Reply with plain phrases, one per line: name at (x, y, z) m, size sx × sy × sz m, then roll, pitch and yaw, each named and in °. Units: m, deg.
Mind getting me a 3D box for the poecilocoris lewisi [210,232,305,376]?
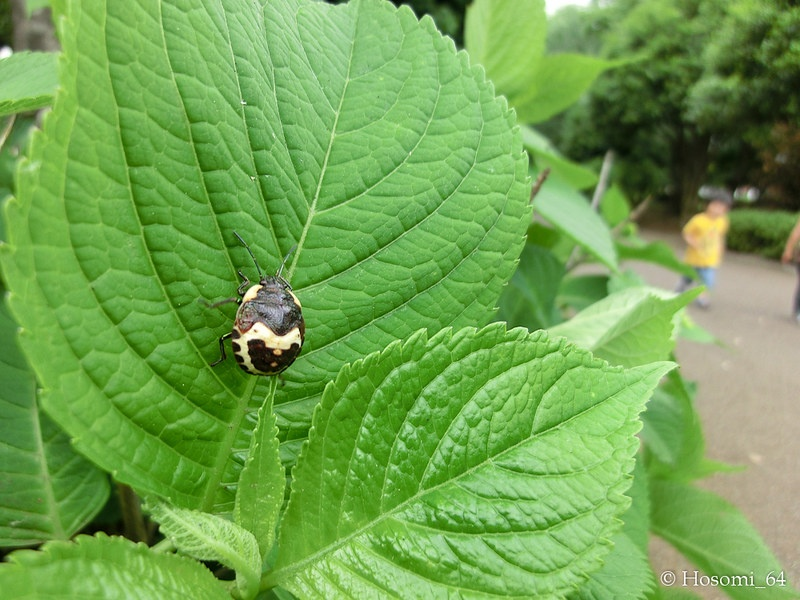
poecilocoris lewisi at (-0.290, 0.016, 1.533) m, size 0.187 × 0.278 × 0.066 m, roll 2°, pitch -4°, yaw -38°
